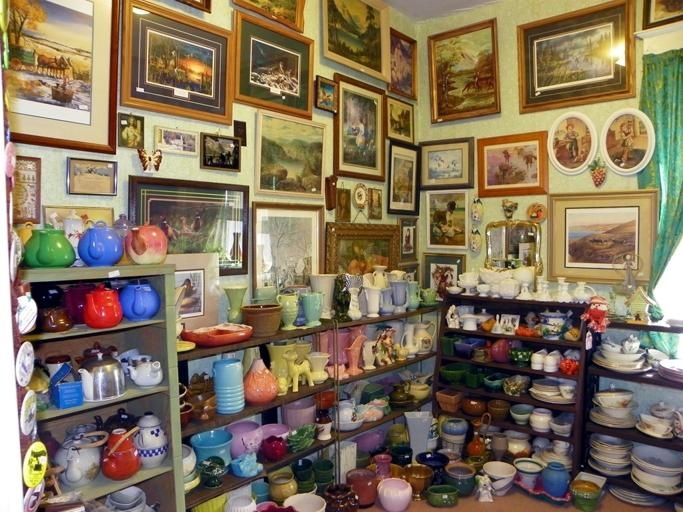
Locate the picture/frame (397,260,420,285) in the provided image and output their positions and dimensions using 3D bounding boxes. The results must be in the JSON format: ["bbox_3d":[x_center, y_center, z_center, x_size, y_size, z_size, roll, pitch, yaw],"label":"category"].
[{"bbox_3d":[0.671,0.164,5.035,0.111,0.236,0.416,3,4,25],"label":"picture/frame"}]

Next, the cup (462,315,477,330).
[{"bbox_3d":[1.112,0.581,4.354,0.114,0.114,0.117,1,-5,0],"label":"cup"}]

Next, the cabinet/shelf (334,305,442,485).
[{"bbox_3d":[0.355,1.166,4.124,0.343,1.264,1.358,-2,-1,34],"label":"cabinet/shelf"}]

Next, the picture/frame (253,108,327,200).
[{"bbox_3d":[-0.428,-0.788,3.861,0.049,0.642,0.739,-4,-7,38],"label":"picture/frame"}]

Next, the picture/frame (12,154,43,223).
[{"bbox_3d":[-1.700,-0.357,2.692,0.066,0.362,0.147,4,4,35],"label":"picture/frame"}]

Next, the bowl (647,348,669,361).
[{"bbox_3d":[2.458,0.775,3.887,0.095,0.054,0.098,11,13,-2],"label":"bowl"}]

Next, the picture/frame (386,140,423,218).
[{"bbox_3d":[0.603,-0.774,4.960,0.100,0.988,0.810,0,1,38],"label":"picture/frame"}]

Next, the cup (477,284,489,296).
[{"bbox_3d":[1.229,0.296,4.344,0.096,0.089,0.093,7,-3,0],"label":"cup"}]

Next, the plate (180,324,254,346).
[{"bbox_3d":[-0.770,0.494,3.139,0.187,0.063,0.207,0,2,43],"label":"plate"}]

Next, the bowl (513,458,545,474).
[{"bbox_3d":[1.455,1.645,3.894,0.223,0.069,0.181,3,4,20],"label":"bowl"}]

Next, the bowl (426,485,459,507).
[{"bbox_3d":[0.736,1.748,3.648,0.170,0.079,0.131,1,0,0],"label":"bowl"}]

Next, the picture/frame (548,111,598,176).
[{"bbox_3d":[2.009,-0.969,4.300,0.523,0.690,0.057,6,9,40],"label":"picture/frame"}]

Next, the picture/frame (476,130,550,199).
[{"bbox_3d":[1.602,-0.843,4.591,0.645,0.634,0.052,3,4,37],"label":"picture/frame"}]

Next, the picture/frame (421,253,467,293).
[{"bbox_3d":[1.027,0.166,4.932,0.346,0.390,0.026,8,10,39],"label":"picture/frame"}]

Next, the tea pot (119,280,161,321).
[{"bbox_3d":[-1.099,0.247,2.714,0.172,0.166,0.234,-1,1,-11],"label":"tea pot"}]

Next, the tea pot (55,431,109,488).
[{"bbox_3d":[-1.349,1.061,2.614,0.262,0.188,0.200,5,-5,-40],"label":"tea pot"}]

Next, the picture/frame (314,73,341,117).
[{"bbox_3d":[-0.138,-1.345,4.161,0.040,0.381,0.402,1,1,37],"label":"picture/frame"}]

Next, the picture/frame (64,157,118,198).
[{"bbox_3d":[-1.474,-0.453,2.887,0.020,0.189,0.252,-1,0,44],"label":"picture/frame"}]

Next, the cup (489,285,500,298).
[{"bbox_3d":[1.314,0.314,4.311,0.088,0.100,0.085,2,-4,0],"label":"cup"}]

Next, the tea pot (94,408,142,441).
[{"bbox_3d":[-1.246,0.936,2.778,0.163,0.095,0.136,2,-3,-4],"label":"tea pot"}]

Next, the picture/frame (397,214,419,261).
[{"bbox_3d":[0.652,-0.185,5.035,0.026,0.551,0.470,-1,0,35],"label":"picture/frame"}]

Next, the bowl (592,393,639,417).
[{"bbox_3d":[2.114,1.095,3.836,0.222,0.131,0.217,-1,2,0],"label":"bowl"}]

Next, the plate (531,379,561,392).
[{"bbox_3d":[1.703,1.047,4.157,0.207,0.061,0.379,3,5,25],"label":"plate"}]

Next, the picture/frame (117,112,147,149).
[{"bbox_3d":[-1.298,-0.769,3.046,0.024,0.247,0.244,-3,-1,34],"label":"picture/frame"}]

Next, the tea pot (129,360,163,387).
[{"bbox_3d":[-1.063,0.638,2.711,0.169,0.116,0.112,2,-2,-10],"label":"tea pot"}]

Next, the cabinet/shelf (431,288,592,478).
[{"bbox_3d":[1.432,1.089,4.116,1.378,1.626,0.483,2,-1,36],"label":"cabinet/shelf"}]

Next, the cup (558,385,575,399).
[{"bbox_3d":[1.754,1.055,3.880,0.091,0.090,0.099,-2,4,0],"label":"cup"}]

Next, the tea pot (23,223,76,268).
[{"bbox_3d":[-1.438,-0.038,2.430,0.178,0.188,0.170,1,4,0],"label":"tea pot"}]

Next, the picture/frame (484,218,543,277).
[{"bbox_3d":[1.574,-0.069,4.529,0.482,0.485,0.086,-3,-9,33],"label":"picture/frame"}]

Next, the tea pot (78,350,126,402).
[{"bbox_3d":[-1.242,0.611,2.582,0.181,0.203,0.235,2,4,12],"label":"tea pot"}]

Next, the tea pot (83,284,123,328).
[{"bbox_3d":[-1.225,0.260,2.567,0.160,0.223,0.227,-2,-5,13],"label":"tea pot"}]

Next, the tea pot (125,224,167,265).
[{"bbox_3d":[-1.071,-0.055,2.702,0.163,0.161,0.231,2,8,7],"label":"tea pot"}]

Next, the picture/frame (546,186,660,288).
[{"bbox_3d":[2.218,-0.157,4.160,0.835,0.821,0.061,2,3,39],"label":"picture/frame"}]

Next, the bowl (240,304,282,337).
[{"bbox_3d":[-0.565,0.440,3.454,0.295,0.202,0.306,0,4,0],"label":"bowl"}]

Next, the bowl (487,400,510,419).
[{"bbox_3d":[1.306,1.272,4.180,0.144,0.101,0.147,1,6,0],"label":"bowl"}]

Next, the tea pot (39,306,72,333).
[{"bbox_3d":[-1.419,0.311,2.466,0.111,0.095,0.112,0,3,0],"label":"tea pot"}]

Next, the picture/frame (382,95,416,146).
[{"bbox_3d":[0.537,-1.329,4.894,0.021,0.408,0.564,-4,-5,36],"label":"picture/frame"}]

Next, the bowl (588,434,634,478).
[{"bbox_3d":[2.048,1.519,3.825,0.283,0.166,0.278,2,4,0],"label":"bowl"}]

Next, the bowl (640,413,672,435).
[{"bbox_3d":[2.297,1.224,3.651,0.125,0.067,0.144,4,3,-34],"label":"bowl"}]

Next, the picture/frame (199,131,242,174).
[{"bbox_3d":[-0.857,-0.712,3.433,0.031,0.252,0.311,-6,-7,43],"label":"picture/frame"}]

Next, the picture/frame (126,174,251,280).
[{"bbox_3d":[-1.013,-0.192,3.194,0.031,0.545,0.727,4,5,45],"label":"picture/frame"}]

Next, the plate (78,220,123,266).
[{"bbox_3d":[-1.241,-0.049,2.558,0.157,0.179,0.251,0,-2,-3],"label":"plate"}]

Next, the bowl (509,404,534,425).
[{"bbox_3d":[1.499,1.317,4.166,0.183,0.133,0.171,1,4,0],"label":"bowl"}]

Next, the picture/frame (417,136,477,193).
[{"bbox_3d":[1.069,-0.914,4.978,0.570,0.562,0.042,3,5,41],"label":"picture/frame"}]

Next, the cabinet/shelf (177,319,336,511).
[{"bbox_3d":[-0.594,1.062,3.275,0.184,0.674,1.243,3,9,42],"label":"cabinet/shelf"}]
